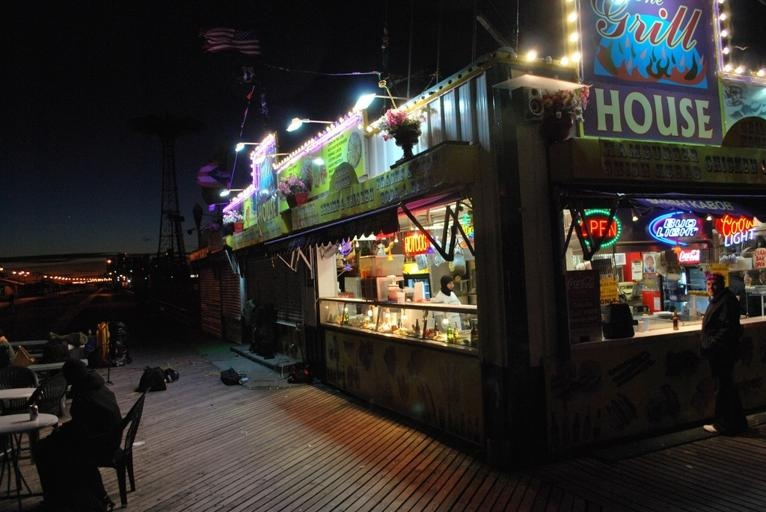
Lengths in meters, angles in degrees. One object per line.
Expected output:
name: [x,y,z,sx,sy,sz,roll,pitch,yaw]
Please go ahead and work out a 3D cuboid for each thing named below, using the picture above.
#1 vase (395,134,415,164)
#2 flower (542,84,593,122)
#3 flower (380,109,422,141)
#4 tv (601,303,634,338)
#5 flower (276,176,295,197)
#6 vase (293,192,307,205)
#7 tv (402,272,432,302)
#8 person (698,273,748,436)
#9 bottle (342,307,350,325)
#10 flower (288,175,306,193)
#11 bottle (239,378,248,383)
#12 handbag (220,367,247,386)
vase: [0.457,-2.029,10.917,0.423,0.528,0.446,0,-7,-6]
flower: [3.138,-2.695,9.909,0.932,0.622,0.405,-7,20,-32]
flower: [0.321,-2.541,11.035,0.580,0.398,0.594,-2,2,-23]
tv: [4.117,1.122,10.275,0.520,0.642,0.706,-1,-3,-4]
flower: [-2.526,-1.800,14.874,0.460,0.522,0.485,0,1,-8]
vase: [-2.087,-1.465,14.515,0.288,0.345,0.316,0,-6,-1]
tv: [0.843,0.763,14.131,0.576,0.894,0.564,0,1,-5]
person: [6.003,1.724,10.042,0.745,2.701,0.770,-12,14,-40]
bottle: [-0.854,1.366,13.100,0.142,0.366,0.317,-8,12,-25]
flower: [-2.210,-1.858,14.664,0.344,0.443,0.417,1,3,6]
bottle: [-3.480,3.116,14.336,0.189,0.051,0.350,-6,12,-10]
handbag: [-3.832,3.061,14.497,0.385,0.217,0.550,1,5,-30]
